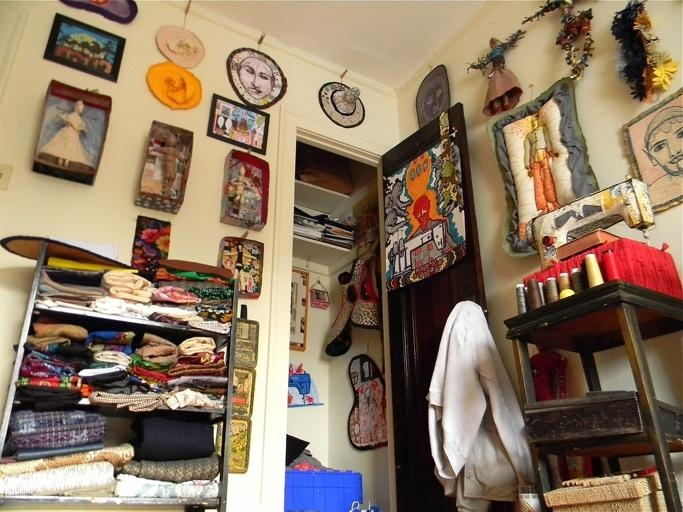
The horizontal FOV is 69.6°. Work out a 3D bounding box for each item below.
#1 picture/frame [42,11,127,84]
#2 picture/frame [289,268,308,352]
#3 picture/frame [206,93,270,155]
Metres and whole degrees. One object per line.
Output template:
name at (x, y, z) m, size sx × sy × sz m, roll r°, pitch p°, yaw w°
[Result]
picture/frame at (-1.688, -1.385, 3.283) m, size 0.429 × 0.438 × 0.033 m, roll 13°, pitch -31°, yaw -28°
picture/frame at (-0.386, 0.498, 4.726) m, size 0.202 × 0.821 × 0.137 m, roll 11°, pitch -25°, yaw -21°
picture/frame at (-0.775, -0.960, 3.623) m, size 0.482 × 0.393 × 0.019 m, roll 18°, pitch -32°, yaw -31°
